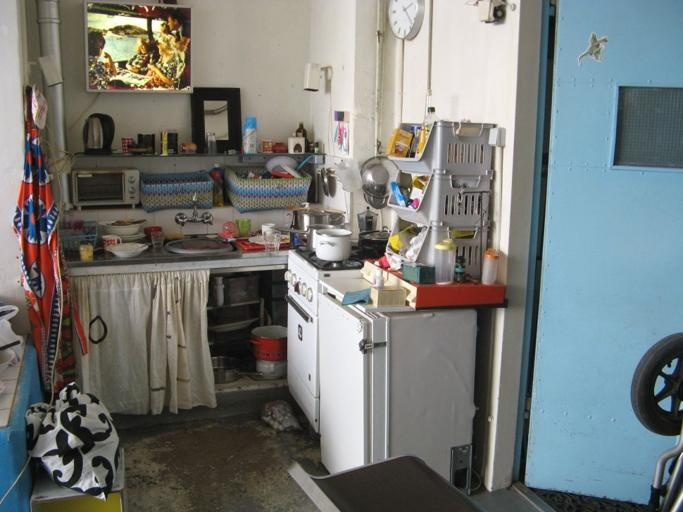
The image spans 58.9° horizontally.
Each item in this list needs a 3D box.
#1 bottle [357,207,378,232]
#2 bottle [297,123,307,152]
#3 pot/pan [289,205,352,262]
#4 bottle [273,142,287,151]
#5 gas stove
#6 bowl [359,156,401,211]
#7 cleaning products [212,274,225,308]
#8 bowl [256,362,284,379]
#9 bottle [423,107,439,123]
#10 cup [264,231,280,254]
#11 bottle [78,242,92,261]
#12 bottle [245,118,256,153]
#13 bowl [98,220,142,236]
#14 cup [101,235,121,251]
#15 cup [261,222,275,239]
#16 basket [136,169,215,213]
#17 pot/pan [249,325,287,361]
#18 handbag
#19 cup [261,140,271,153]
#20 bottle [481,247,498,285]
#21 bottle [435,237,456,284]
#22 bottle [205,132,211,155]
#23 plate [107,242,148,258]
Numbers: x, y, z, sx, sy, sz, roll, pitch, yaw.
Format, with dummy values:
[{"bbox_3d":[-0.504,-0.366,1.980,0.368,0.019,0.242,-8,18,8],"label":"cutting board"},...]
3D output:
[{"bbox_3d":[0.201,-0.261,4.207,0.145,0.200,0.155,0,14,0],"label":"bottle"},{"bbox_3d":[-0.331,-1.013,5.136,0.109,0.234,0.230,-3,15,-4],"label":"bottle"},{"bbox_3d":[-0.188,-0.166,4.097,0.390,0.295,0.326,5,8,40],"label":"pot/pan"},{"bbox_3d":[-0.504,-0.904,5.048,0.082,0.054,0.084,-1,10,0],"label":"bottle"},{"bbox_3d":[-0.111,0.221,3.998,0.392,0.487,0.781,-7,12,-17],"label":"gas stove"},{"bbox_3d":[0.243,-0.479,4.041,0.257,0.336,0.069,6,3,14],"label":"bowl"},{"bbox_3d":[-0.898,0.260,4.460,0.089,0.224,0.056,-5,15,-14],"label":"cleaning products"},{"bbox_3d":[-0.494,0.809,4.331,0.135,0.107,0.140,2,12,-1],"label":"bowl"},{"bbox_3d":[0.541,-0.845,3.630,0.080,0.094,0.159,0,15,8],"label":"bottle"},{"bbox_3d":[-0.508,-0.110,4.458,0.130,0.158,0.132,1,15,0],"label":"cup"},{"bbox_3d":[-1.677,-0.028,3.976,0.093,0.166,0.106,1,5,-5],"label":"bottle"},{"bbox_3d":[-0.744,-0.980,4.921,0.106,0.286,0.072,-5,15,-14],"label":"bottle"},{"bbox_3d":[-1.653,-0.206,4.535,0.311,0.101,0.246,-3,15,-4],"label":"bowl"},{"bbox_3d":[-1.589,-0.092,4.213,0.135,0.133,0.092,1,5,-36],"label":"cup"},{"bbox_3d":[-0.554,-0.196,4.570,0.101,0.112,0.128,0,0,-9],"label":"cup"},{"bbox_3d":[-1.277,-0.499,4.749,0.535,0.308,0.126,-7,15,-16],"label":"basket"},{"bbox_3d":[-0.513,0.574,4.381,0.197,0.128,0.334,2,8,5],"label":"pot/pan"},{"bbox_3d":[-1.296,0.919,2.974,0.417,0.509,0.181,-28,-7,-33],"label":"handbag"},{"bbox_3d":[-0.611,-0.905,5.005,0.087,0.092,0.090,1,2,0],"label":"cup"},{"bbox_3d":[0.788,0.058,3.187,0.091,0.171,0.082,-2,15,1],"label":"bottle"},{"bbox_3d":[0.554,0.027,3.202,0.174,0.209,0.116,-15,20,-41],"label":"bottle"},{"bbox_3d":[-1.056,-0.905,4.847,0.046,0.146,0.092,-6,15,-15],"label":"bottle"},{"bbox_3d":[-1.452,-0.032,4.100,0.253,0.092,0.222,-9,17,-24],"label":"plate"}]
